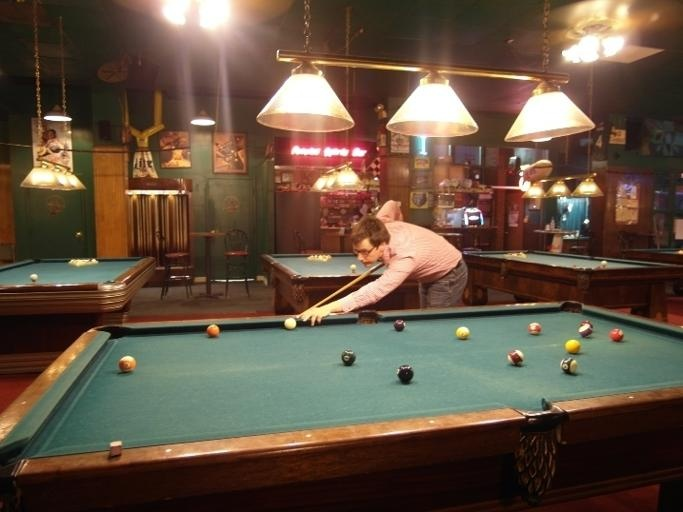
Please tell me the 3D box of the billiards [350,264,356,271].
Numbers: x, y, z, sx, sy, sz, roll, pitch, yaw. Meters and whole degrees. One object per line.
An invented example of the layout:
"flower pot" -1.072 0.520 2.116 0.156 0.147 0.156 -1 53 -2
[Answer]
"billiards" 0.127 0.112 5.485 0.057 0.065 0.055 -1 0 -25

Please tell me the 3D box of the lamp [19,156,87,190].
"lamp" -3.731 -1.078 7.139 0.495 0.308 1.328 1 0 -2

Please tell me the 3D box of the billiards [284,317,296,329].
"billiards" -0.312 0.409 3.410 0.066 0.059 0.063 -1 6 -20

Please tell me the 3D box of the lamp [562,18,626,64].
"lamp" 2.739 -2.314 6.065 0.564 0.334 0.738 2 11 15

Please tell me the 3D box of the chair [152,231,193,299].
"chair" -2.847 0.207 9.626 0.560 0.831 1.588 -4 11 -15

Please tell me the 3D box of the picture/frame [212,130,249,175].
"picture/frame" -2.144 -2.006 10.658 0.951 0.999 0.073 0 -2 -21

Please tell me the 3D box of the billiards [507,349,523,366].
"billiards" 0.890 0.518 2.869 0.076 0.073 0.073 -12 20 13

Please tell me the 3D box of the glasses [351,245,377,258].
"glasses" 0.145 -0.034 4.018 0.204 0.077 0.091 9 15 43

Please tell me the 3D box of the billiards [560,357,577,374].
"billiards" 1.128 0.536 2.773 0.070 0.079 0.073 26 52 16

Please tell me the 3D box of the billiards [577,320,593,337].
"billiards" 1.437 0.432 3.331 0.096 0.114 0.091 -1 -6 -1

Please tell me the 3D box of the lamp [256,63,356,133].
"lamp" -0.195 -0.974 3.276 0.546 0.324 0.548 5 7 28

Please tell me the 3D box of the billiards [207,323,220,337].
"billiards" -0.749 0.437 3.315 0.066 0.061 0.063 -1 4 5

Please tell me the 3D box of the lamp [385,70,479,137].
"lamp" 0.566 -0.870 3.385 0.462 0.278 0.447 -3 6 -36

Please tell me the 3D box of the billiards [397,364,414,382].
"billiards" 0.297 0.554 2.666 0.075 0.080 0.072 8 -26 -4

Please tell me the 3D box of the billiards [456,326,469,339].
"billiards" 0.716 0.455 3.297 0.071 0.064 0.069 1 -6 -1

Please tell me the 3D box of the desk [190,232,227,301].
"desk" -2.125 0.148 8.965 0.715 1.076 0.683 -2 6 -21

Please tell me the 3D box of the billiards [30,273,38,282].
"billiards" -2.722 0.190 4.954 0.074 0.069 0.069 -1 -1 13

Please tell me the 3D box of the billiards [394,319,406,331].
"billiards" 0.375 0.428 3.460 0.064 0.069 0.062 13 -7 -26
